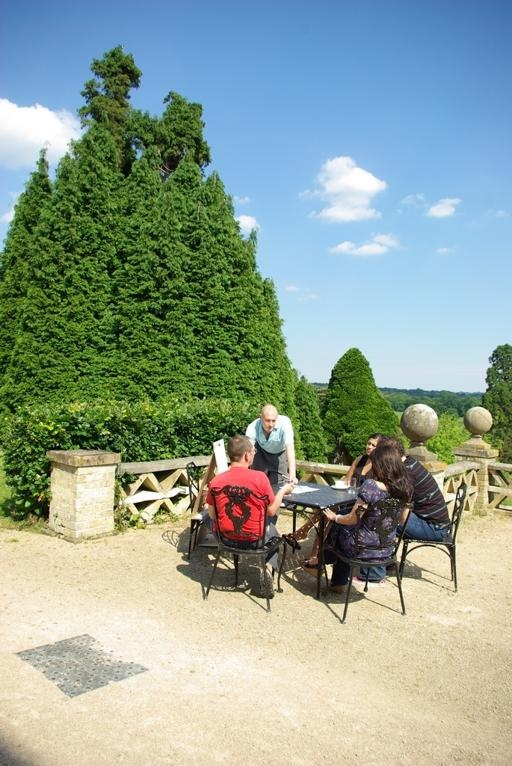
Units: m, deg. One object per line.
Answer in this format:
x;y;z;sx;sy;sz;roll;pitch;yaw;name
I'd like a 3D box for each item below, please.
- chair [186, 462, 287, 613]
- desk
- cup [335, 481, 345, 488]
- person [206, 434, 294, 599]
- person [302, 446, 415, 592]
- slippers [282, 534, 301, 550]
-0.155;1.383;5.187;0.837;1.438;0.851;10;21;17;chair
0.491;1.381;5.335;0.773;0.700;0.982;-1;-1;38;desk
0.817;0.991;5.785;0.071;0.049;0.069;0;-4;0;cup
-0.084;1.056;4.729;0.624;0.873;0.487;5;-2;-9;person
0.909;1.136;5.002;0.638;1.254;0.840;1;9;-37;person
0.373;1.647;6.147;0.152;0.166;0.450;1;-1;5;slippers
